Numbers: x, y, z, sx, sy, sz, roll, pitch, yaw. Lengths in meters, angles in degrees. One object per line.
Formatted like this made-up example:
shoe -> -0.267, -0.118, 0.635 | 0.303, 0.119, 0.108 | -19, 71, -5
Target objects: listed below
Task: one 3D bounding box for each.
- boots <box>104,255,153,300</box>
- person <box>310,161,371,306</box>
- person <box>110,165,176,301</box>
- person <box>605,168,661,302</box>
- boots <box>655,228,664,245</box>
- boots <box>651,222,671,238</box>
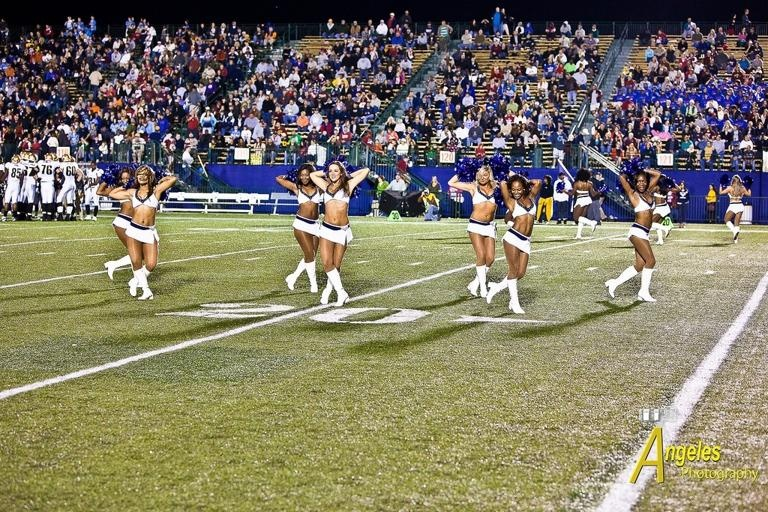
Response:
boots -> -3.718, 0.345, 11.815 | 0.612, 0.282, 0.386 | 27, 7, 9
person -> -0.652, -0.325, 10.965 | 0.707, 1.874, 1.130 | 1, 5, -6
person -> -3.347, -0.359, 11.390 | 0.753, 1.802, 1.243 | -1, 6, -26
person -> 3.641, -0.331, 11.756 | 0.632, 1.823, 1.547 | 3, 5, 18
boots -> 7.378, -0.495, 21.766 | 0.195, 0.540, 0.470 | -2, 38, 14
boots -> 7.662, -0.680, 22.533 | 0.339, 0.403, 1.011 | -1, 11, 38
